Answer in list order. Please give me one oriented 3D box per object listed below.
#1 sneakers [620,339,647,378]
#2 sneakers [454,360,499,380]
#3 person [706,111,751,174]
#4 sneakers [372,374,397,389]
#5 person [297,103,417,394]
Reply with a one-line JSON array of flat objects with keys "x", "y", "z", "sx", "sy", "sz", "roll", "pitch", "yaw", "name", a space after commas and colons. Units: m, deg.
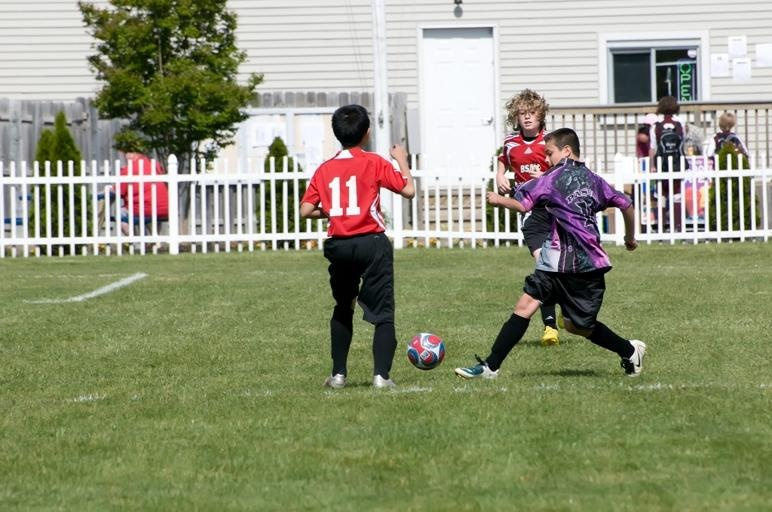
[{"x": 2.771, "y": 1.146, "z": 15.637, "sx": 0.255, "sy": 0.484, "sz": 0.174, "roll": -5, "pitch": 4, "yaw": -13, "name": "sneakers"}, {"x": 1.032, "y": 1.279, "z": 15.697, "sx": 0.524, "sy": 0.251, "sz": 0.191, "roll": 7, "pitch": -9, "yaw": -1, "name": "sneakers"}, {"x": 6.214, "y": -2.087, "z": 25.092, "sx": 0.576, "sy": 0.943, "sz": 2.929, "roll": 1, "pitch": 6, "yaw": 13, "name": "person"}, {"x": -0.005, "y": 1.375, "z": 15.420, "sx": 0.237, "sy": 0.097, "sz": 0.121, "roll": 3, "pitch": 6, "yaw": -24, "name": "sneakers"}, {"x": -0.293, "y": -0.108, "z": 15.421, "sx": 1.118, "sy": 3.065, "sz": 0.411, "roll": -1, "pitch": 5, "yaw": -4, "name": "person"}]
